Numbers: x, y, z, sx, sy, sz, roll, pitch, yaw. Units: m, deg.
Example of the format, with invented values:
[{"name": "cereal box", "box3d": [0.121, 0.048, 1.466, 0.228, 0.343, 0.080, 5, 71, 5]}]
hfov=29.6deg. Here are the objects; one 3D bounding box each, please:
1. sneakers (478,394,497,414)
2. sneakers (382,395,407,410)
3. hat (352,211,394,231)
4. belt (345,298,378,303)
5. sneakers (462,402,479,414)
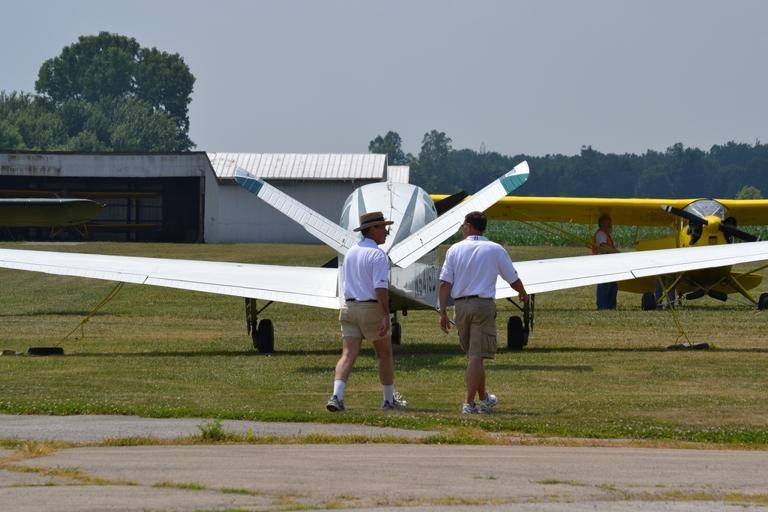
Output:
[{"name": "sneakers", "box3d": [2.261, 3.155, 31.395, 0.201, 0.266, 0.540, 3, 31, 28]}, {"name": "sneakers", "box3d": [0.221, 3.180, 31.465, 0.607, 0.266, 0.213, -1, 1, -15]}, {"name": "hat", "box3d": [-0.201, -0.746, 31.528, 0.601, 0.202, 0.528, -9, 1, -14]}, {"name": "belt", "box3d": [-0.469, 0.958, 31.304, 0.625, 0.094, 0.096, 2, 3, 14]}, {"name": "sneakers", "box3d": [1.921, 3.248, 31.282, 0.301, 0.223, 0.487, 3, 3, 37]}]
